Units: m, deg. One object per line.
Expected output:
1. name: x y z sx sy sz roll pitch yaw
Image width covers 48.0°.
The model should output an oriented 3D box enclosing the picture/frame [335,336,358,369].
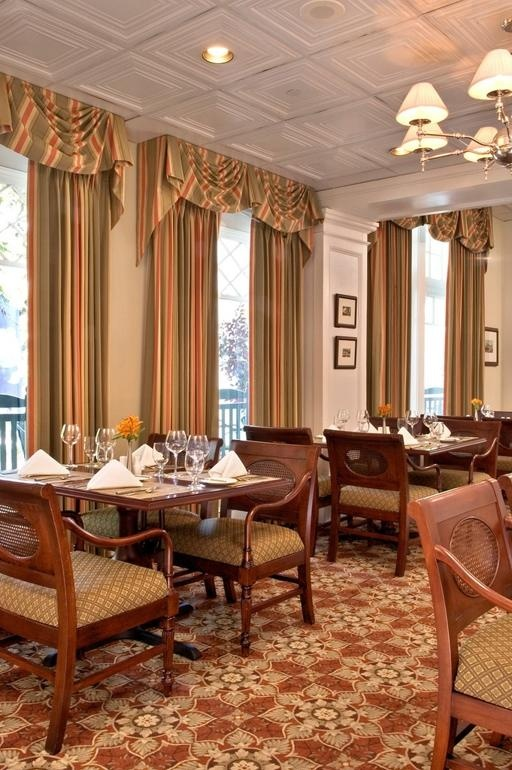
1. picture/frame: 0.994 -0.373 6.425 0.026 0.352 0.371 1 1 38

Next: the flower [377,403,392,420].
1. flower: 1.360 0.272 6.118 0.139 0.190 0.138 -3 6 -27

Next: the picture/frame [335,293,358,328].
1. picture/frame: 0.996 -0.838 6.424 0.029 0.364 0.411 0 0 37

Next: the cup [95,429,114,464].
1. cup: -0.747 0.302 2.844 0.089 0.173 0.220 1 -4 -16

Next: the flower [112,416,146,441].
1. flower: -0.638 0.216 2.843 0.112 0.134 0.260 1 -4 -15

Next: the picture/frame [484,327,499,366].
1. picture/frame: 4.152 -0.699 10.162 0.047 0.729 0.713 -2 -1 36

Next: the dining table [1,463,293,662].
1. dining table: -0.481 0.885 2.782 1.223 0.894 0.990 -3 -4 39
